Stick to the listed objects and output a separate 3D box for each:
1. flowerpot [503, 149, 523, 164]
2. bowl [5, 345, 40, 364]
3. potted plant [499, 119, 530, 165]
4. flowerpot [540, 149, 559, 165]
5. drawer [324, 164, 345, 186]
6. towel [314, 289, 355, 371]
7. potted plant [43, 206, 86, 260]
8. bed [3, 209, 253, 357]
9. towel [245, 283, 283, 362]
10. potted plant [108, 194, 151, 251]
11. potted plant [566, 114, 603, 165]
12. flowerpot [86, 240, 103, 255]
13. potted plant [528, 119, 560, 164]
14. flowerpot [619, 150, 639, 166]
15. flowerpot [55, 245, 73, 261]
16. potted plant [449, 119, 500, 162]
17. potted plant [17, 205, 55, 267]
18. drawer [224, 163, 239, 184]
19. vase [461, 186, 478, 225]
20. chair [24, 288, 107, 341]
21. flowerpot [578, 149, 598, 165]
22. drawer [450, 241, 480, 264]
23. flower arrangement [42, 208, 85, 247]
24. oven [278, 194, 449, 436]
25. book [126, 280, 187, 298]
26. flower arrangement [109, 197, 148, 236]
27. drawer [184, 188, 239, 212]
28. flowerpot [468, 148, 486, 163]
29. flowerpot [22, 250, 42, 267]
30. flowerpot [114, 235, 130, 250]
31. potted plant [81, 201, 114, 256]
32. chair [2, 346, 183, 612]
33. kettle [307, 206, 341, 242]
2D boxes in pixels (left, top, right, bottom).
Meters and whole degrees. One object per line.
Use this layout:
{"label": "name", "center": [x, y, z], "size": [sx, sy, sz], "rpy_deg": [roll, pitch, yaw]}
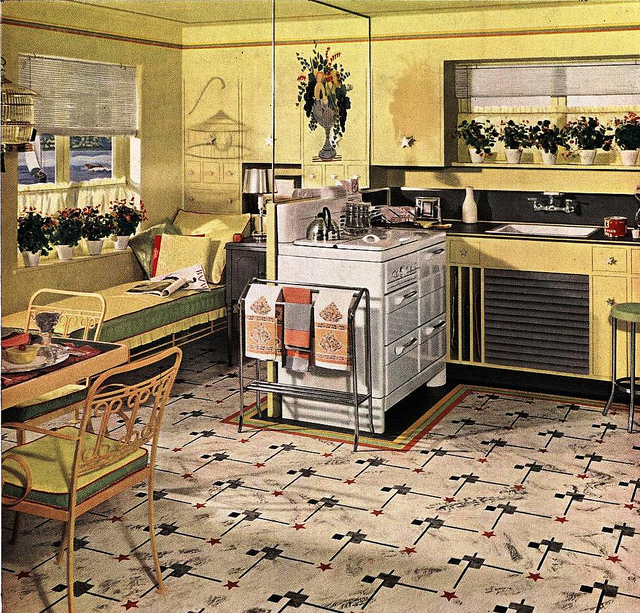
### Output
{"label": "flowerpot", "center": [1.687, -1.319, 4.950], "size": [0.150, 0.092, 0.136], "rpy_deg": [0, 7, -7]}
{"label": "bowl", "center": [-1.191, 0.187, 2.272], "size": [0.086, 0.034, 0.096], "rpy_deg": [0, 2, 3]}
{"label": "potted plant", "center": [1.694, -1.457, 4.979], "size": [0.254, 0.389, 0.131], "rpy_deg": [3, 9, 20]}
{"label": "flowerpot", "center": [1.936, -1.264, 4.797], "size": [0.152, 0.099, 0.137], "rpy_deg": [3, 8, 16]}
{"label": "drawer", "center": [0.148, -1.280, 5.470], "size": [0.234, 0.195, 0.058], "rpy_deg": [7, 11, 40]}
{"label": "towel", "center": [0.085, 0.138, 3.425], "size": [0.248, 0.478, 0.175], "rpy_deg": [0, 9, 3]}
{"label": "potted plant", "center": [-2.241, -0.680, 5.255], "size": [0.465, 0.518, 0.511], "rpy_deg": [0, 6, -15]}
{"label": "bed", "center": [-1.507, -0.180, 4.963], "size": [1.154, 0.855, 1.768], "rpy_deg": [9, 14, 35]}
{"label": "towel", "center": [-0.357, 0.104, 3.612], "size": [0.272, 0.488, 0.083], "rpy_deg": [3, 9, 21]}
{"label": "potted plant", "center": [-1.950, -0.805, 5.714], "size": [0.384, 0.417, 0.345], "rpy_deg": [-2, 9, -23]}
{"label": "potted plant", "center": [2.185, -1.393, 4.701], "size": [0.279, 0.427, 0.195], "rpy_deg": [2, 9, 19]}
{"label": "flowerpot", "center": [-2.122, -0.562, 5.357], "size": [0.138, 0.087, 0.134], "rpy_deg": [5, 8, 26]}
{"label": "potted plant", "center": [1.916, -1.417, 4.872], "size": [0.261, 0.385, 0.196], "rpy_deg": [4, 10, 26]}
{"label": "flowerpot", "center": [2.476, -1.197, 4.551], "size": [0.134, 0.098, 0.129], "rpy_deg": [4, 8, 24]}
{"label": "flowerpot", "center": [-2.292, -0.491, 5.109], "size": [0.144, 0.097, 0.145], "rpy_deg": [2, 3, 35]}
{"label": "potted plant", "center": [1.411, -1.486, 5.181], "size": [0.441, 0.366, 0.386], "rpy_deg": [0, 6, 0]}
{"label": "potted plant", "center": [-2.430, -0.527, 4.788], "size": [0.259, 0.325, 0.257], "rpy_deg": [-4, 0, -30]}
{"label": "drawer", "center": [-0.945, -1.449, 6.114], "size": [0.240, 0.203, 0.108], "rpy_deg": [4, 13, 21]}
{"label": "vase", "center": [1.355, -0.913, 5.116], "size": [0.136, 0.337, 0.244], "rpy_deg": [2, 9, 14]}
{"label": "chair", "center": [-1.675, 0.055, 3.741], "size": [0.386, 0.163, 0.253], "rpy_deg": [7, 18, 18]}
{"label": "flowerpot", "center": [2.187, -1.224, 4.650], "size": [0.139, 0.093, 0.131], "rpy_deg": [4, 10, 16]}
{"label": "drawer", "center": [1.198, -0.462, 4.666], "size": [0.319, 0.194, 0.177], "rpy_deg": [4, 11, 29]}
{"label": "flower arrangement", "center": [-2.259, -0.702, 5.038], "size": [0.414, 0.337, 0.328], "rpy_deg": [-2, 11, -19]}
{"label": "oven", "center": [0.338, 0.003, 4.117], "size": [0.766, 1.523, 1.104], "rpy_deg": [5, 10, 32]}
{"label": "book", "center": [-1.477, -0.168, 5.061], "size": [0.535, 0.118, 0.355], "rpy_deg": [3, 9, 24]}
{"label": "flower arrangement", "center": [-1.925, -0.936, 5.869], "size": [0.393, 0.449, 0.465], "rpy_deg": [11, 15, 39]}
{"label": "drawer", "center": [-1.189, -1.178, 6.241], "size": [0.682, 0.245, 0.059], "rpy_deg": [4, 10, 26]}
{"label": "flowerpot", "center": [1.409, -1.360, 5.080], "size": [0.128, 0.114, 0.148], "rpy_deg": [5, 12, 20]}
{"label": "flowerpot", "center": [-2.417, -0.399, 4.796], "size": [0.140, 0.092, 0.123], "rpy_deg": [3, 8, 7]}
{"label": "flowerpot", "center": [-1.976, -0.647, 5.676], "size": [0.151, 0.097, 0.141], "rpy_deg": [-6, 16, -28]}
{"label": "potted plant", "center": [-2.145, -0.718, 5.422], "size": [0.333, 0.413, 0.269], "rpy_deg": [-4, 6, -3]}
{"label": "chair", "center": [-0.873, 0.594, 2.086], "size": [0.649, 0.906, 0.506], "rpy_deg": [5, 10, 31]}
{"label": "kettle", "center": [0.040, -0.565, 3.855], "size": [0.245, 0.229, 0.289], "rpy_deg": [2, 9, 17]}
